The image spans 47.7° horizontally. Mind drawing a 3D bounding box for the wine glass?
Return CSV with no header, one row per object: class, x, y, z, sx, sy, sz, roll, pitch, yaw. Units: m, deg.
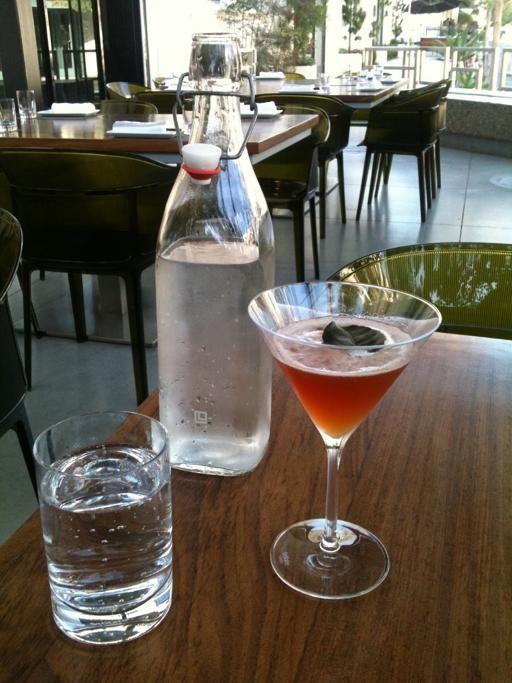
wine glass,0.052,0.053,0.373,0.111,0.165,0.146,9,22,29
